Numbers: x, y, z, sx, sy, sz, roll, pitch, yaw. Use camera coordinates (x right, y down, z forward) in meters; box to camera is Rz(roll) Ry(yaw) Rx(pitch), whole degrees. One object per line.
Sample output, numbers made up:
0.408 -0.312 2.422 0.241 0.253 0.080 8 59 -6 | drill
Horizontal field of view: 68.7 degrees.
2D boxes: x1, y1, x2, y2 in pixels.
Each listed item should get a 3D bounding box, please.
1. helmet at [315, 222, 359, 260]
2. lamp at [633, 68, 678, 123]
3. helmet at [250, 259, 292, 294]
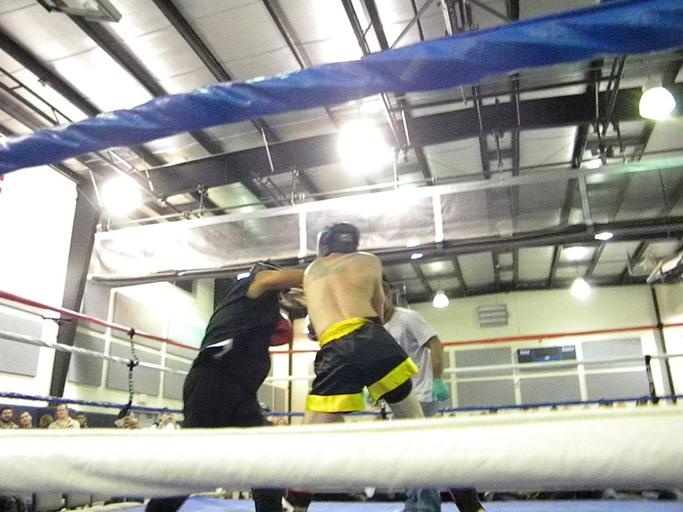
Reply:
-0.015 -0.064 2.277 0.213 0.182 0.160 2 -3 29 | helmet
2.974 -1.504 4.708 0.264 0.376 0.245 -5 7 32 | lamp
-0.317 0.083 2.122 0.130 0.136 0.109 9 -12 -12 | helmet
